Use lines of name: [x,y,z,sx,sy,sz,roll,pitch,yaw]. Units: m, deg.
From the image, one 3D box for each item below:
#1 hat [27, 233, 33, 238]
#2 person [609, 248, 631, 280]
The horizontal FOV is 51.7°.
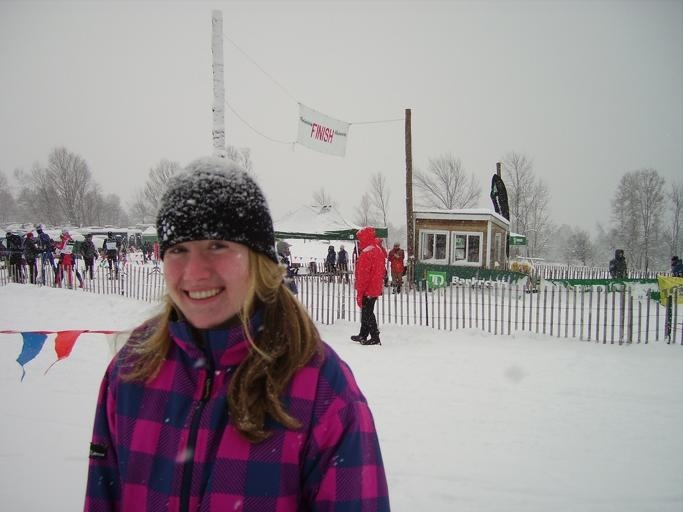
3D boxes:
hat: [-8.075,-0.555,18.311,0.091,0.137,0.126,0,0,0]
person: [7.693,0.200,19.575,0.429,0.781,1.036,1,1,21]
